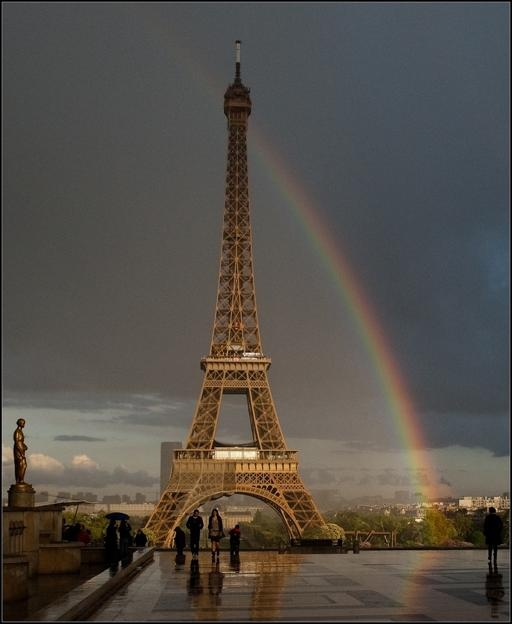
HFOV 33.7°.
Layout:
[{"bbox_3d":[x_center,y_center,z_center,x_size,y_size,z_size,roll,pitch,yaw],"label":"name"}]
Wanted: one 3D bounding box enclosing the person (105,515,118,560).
[{"bbox_3d":[-4.700,7.514,27.789,0.418,1.638,2.194,2,-24,-10],"label":"person"}]
